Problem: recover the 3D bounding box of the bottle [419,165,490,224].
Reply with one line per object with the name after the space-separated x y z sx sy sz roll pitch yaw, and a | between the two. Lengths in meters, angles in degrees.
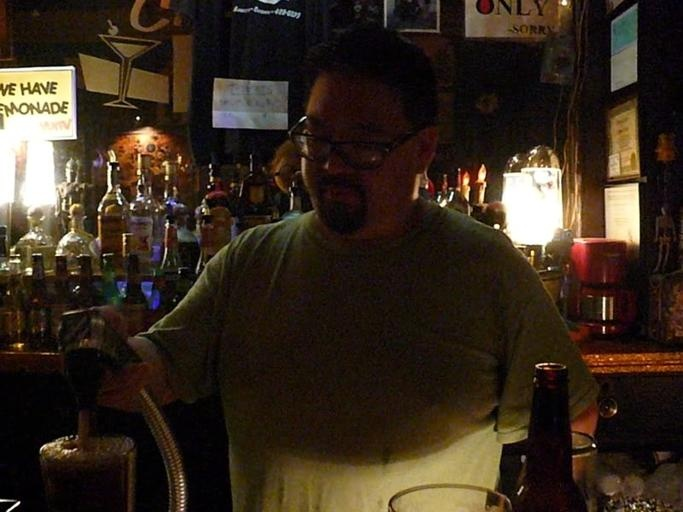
0.531 -0.245 3.182 0.287 0.179 0.296 6 0 0 | bottle
